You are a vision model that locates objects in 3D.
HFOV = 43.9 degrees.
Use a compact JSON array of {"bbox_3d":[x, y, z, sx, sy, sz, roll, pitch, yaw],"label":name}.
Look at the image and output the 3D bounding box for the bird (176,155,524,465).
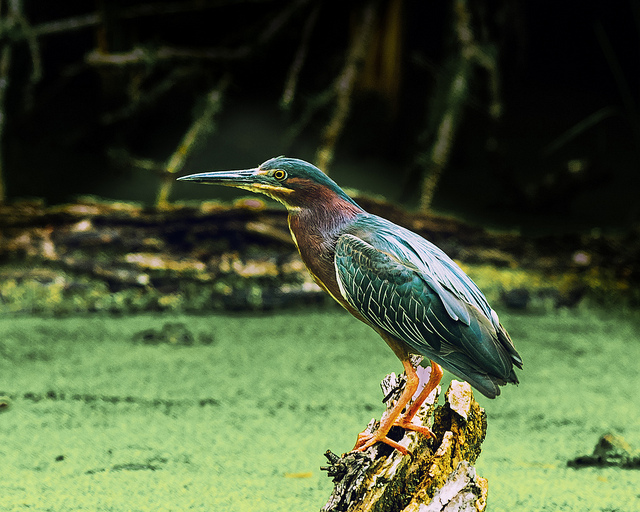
[{"bbox_3d":[0.063,0.221,3.500,1.718,1.125,0.528,10,0,-4],"label":"bird"}]
